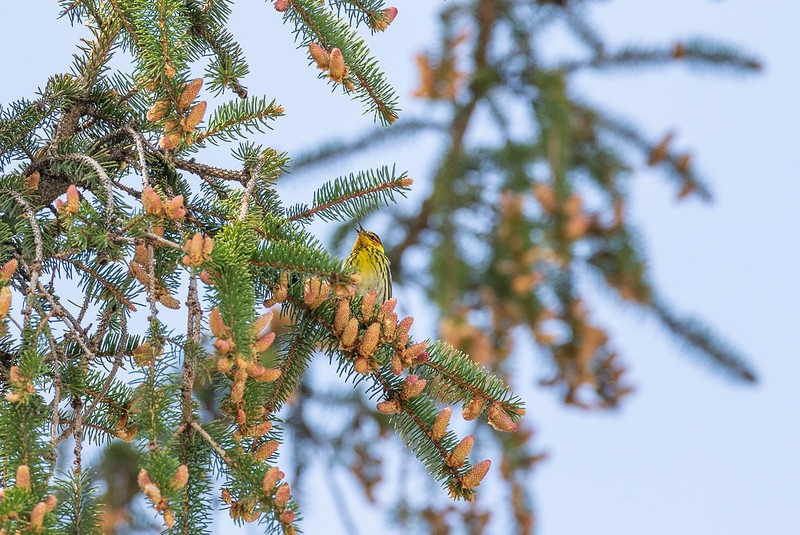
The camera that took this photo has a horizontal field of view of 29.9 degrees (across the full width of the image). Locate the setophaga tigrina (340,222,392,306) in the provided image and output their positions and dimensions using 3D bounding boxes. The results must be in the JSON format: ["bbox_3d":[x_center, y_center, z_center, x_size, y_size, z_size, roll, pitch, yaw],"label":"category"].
[{"bbox_3d":[-0.110,-0.030,6.672,0.179,0.268,0.364,-5,-61,17],"label":"setophaga tigrina"}]
